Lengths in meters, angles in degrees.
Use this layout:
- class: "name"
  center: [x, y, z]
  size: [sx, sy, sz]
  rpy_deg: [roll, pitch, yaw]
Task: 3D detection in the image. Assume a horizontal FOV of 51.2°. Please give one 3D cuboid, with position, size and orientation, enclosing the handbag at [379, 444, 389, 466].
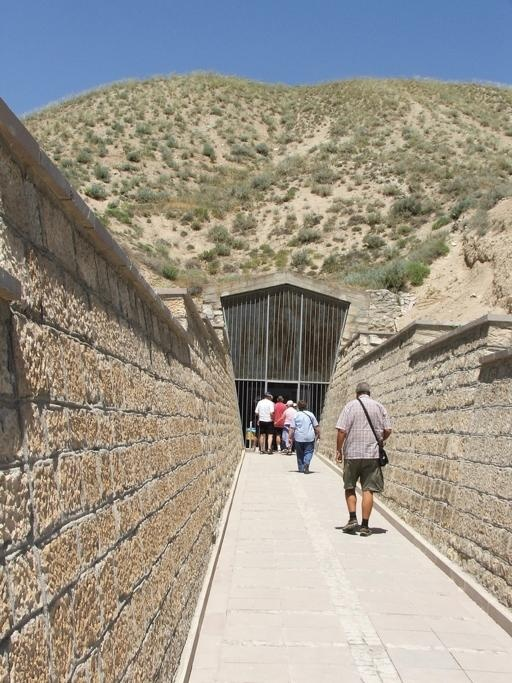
- class: "handbag"
  center: [1.671, 1.514, 7.047]
  size: [0.094, 0.270, 0.286]
  rpy_deg: [-1, -5, 18]

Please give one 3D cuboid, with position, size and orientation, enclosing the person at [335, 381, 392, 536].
- class: "person"
  center: [1.394, 1.635, 6.969]
  size: [0.699, 1.838, 0.504]
  rpy_deg: [0, -3, 10]

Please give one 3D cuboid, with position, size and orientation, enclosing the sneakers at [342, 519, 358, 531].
- class: "sneakers"
  center: [1.243, 2.470, 7.058]
  size: [0.201, 0.198, 0.253]
  rpy_deg: [0, -5, 10]

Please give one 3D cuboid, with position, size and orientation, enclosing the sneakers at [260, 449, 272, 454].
- class: "sneakers"
  center: [0.333, 3.705, 18.046]
  size: [0.392, 0.228, 0.161]
  rpy_deg: [3, -1, -19]

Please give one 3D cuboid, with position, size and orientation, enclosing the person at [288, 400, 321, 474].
- class: "person"
  center: [1.200, 2.335, 13.052]
  size: [0.619, 1.779, 1.130]
  rpy_deg: [0, -4, 6]
